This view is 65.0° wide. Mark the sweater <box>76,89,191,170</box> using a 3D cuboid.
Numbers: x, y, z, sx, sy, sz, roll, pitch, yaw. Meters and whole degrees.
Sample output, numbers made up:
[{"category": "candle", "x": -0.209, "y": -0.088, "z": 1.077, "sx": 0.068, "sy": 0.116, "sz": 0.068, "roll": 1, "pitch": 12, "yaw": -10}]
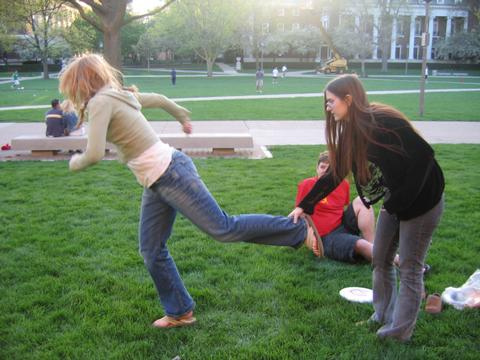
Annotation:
[{"category": "sweater", "x": -1.020, "y": -0.505, "z": 3.454, "sx": 0.923, "sy": 0.653, "sz": 0.535, "roll": -6, "pitch": 14, "yaw": -10}]

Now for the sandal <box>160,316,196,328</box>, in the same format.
[{"category": "sandal", "x": -0.597, "y": 1.362, "z": 3.637, "sx": 0.316, "sy": 0.143, "sz": 0.111, "roll": 7, "pitch": 5, "yaw": -6}]

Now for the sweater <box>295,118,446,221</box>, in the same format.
[{"category": "sweater", "x": 1.238, "y": -0.110, "z": 3.318, "sx": 0.991, "sy": 0.872, "sz": 0.334, "roll": 7, "pitch": 17, "yaw": 36}]

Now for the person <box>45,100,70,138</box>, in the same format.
[{"category": "person", "x": -5.636, "y": -1.935, "z": 11.629, "sx": 0.832, "sy": 1.133, "sz": 0.901, "roll": 17, "pitch": 21, "yaw": 40}]

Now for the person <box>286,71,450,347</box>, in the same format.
[{"category": "person", "x": 1.320, "y": 0.213, "z": 3.537, "sx": 1.062, "sy": 2.364, "sz": 0.837, "roll": 6, "pitch": 17, "yaw": 34}]
